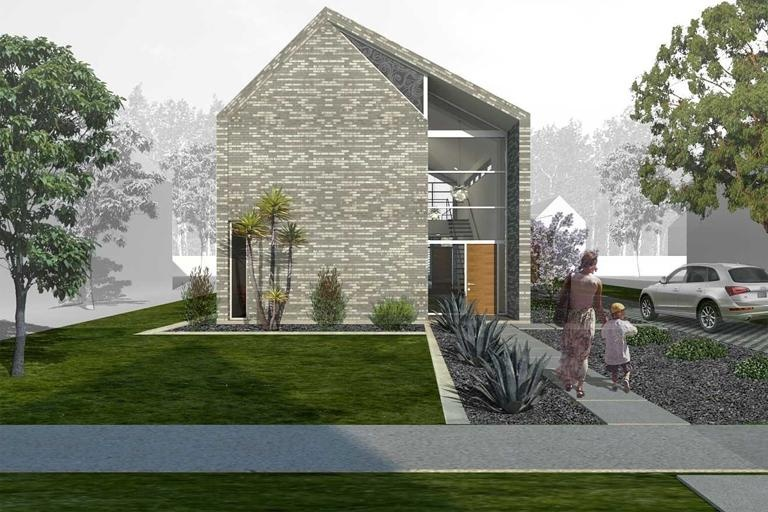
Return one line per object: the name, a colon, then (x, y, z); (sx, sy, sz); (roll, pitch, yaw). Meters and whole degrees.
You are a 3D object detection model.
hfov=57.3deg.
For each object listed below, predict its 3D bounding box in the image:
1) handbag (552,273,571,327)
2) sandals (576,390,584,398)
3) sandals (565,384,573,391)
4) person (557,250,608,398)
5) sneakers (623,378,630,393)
handbag: (3.297, 0.763, 13.226); (0.282, 1.106, 0.279); (5, 6, -21)
sandals: (3.706, 2.638, 13.330); (0.157, 0.151, 0.095); (0, 1, -5)
sandals: (3.560, 2.566, 13.571); (0.194, 0.149, 0.197); (1, -3, 6)
person: (3.686, 1.308, 13.257); (0.799, 2.808, 0.652); (0, 4, 15)
sneakers: (4.765, 2.559, 13.804); (0.134, 0.283, 0.121); (-3, -4, 11)
